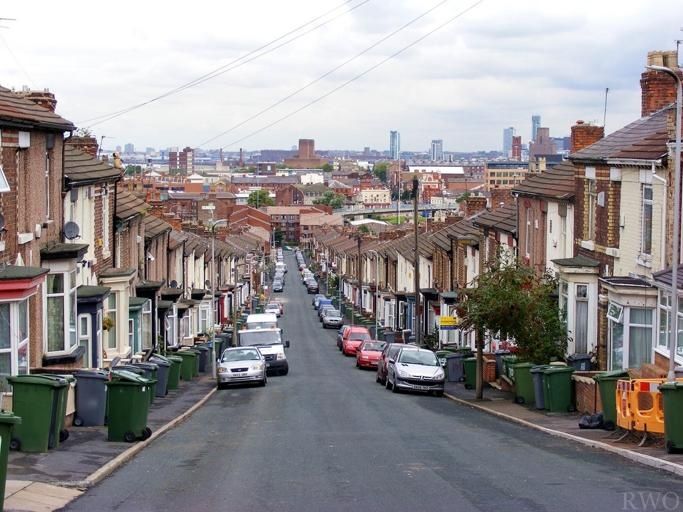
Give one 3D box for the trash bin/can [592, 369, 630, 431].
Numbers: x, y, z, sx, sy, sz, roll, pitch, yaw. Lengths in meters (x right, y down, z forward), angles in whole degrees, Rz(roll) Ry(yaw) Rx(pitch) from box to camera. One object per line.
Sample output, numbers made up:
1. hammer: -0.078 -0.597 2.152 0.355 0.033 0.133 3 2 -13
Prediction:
1. trash bin/can: 6.630 3.577 23.878 0.716 1.354 0.865 0 2 16
